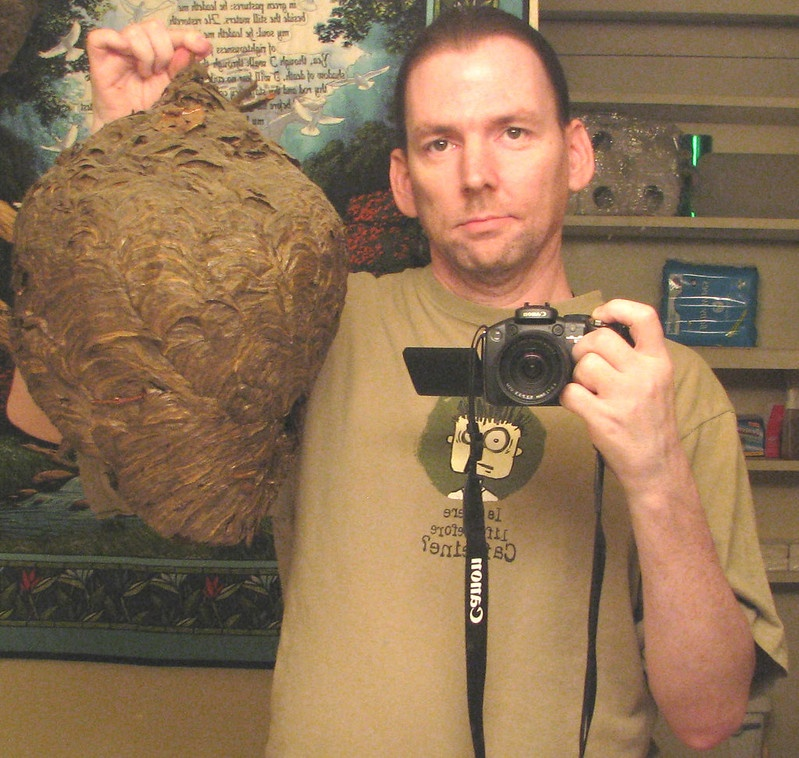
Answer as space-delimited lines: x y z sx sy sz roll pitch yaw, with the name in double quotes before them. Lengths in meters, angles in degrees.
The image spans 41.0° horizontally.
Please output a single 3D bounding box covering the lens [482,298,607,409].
"lens" 0.309 -0.046 2.069 0.190 0.189 0.300 -2 -2 -43
